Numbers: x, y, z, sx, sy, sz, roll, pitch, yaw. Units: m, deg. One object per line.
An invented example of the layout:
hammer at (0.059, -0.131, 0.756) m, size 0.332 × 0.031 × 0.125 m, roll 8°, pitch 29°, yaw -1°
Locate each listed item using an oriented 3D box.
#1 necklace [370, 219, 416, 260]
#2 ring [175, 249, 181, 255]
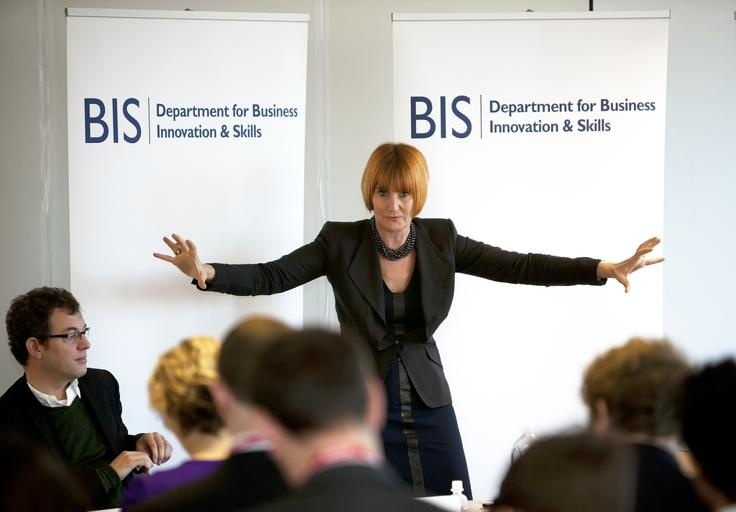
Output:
necklace at (0.151, -0.087, 3.738) m, size 0.164 × 0.234 × 0.069 m, roll -1°, pitch 0°, yaw 1°
ring at (-1.063, -0.023, 3.699) m, size 0.031 × 0.024 × 0.010 m, roll -22°, pitch -18°, yaw -3°
